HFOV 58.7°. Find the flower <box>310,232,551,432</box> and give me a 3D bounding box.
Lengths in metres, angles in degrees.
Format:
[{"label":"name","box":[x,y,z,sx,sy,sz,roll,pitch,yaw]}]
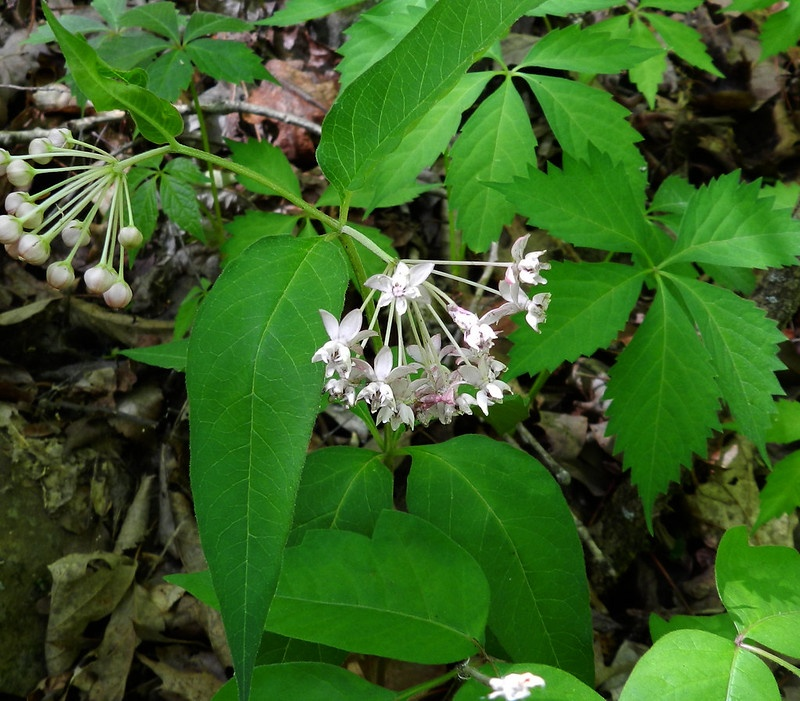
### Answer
[{"label":"flower","box":[0.177,-0.089,2.863,1.168,0.686,0.516,4,47,-31]}]
